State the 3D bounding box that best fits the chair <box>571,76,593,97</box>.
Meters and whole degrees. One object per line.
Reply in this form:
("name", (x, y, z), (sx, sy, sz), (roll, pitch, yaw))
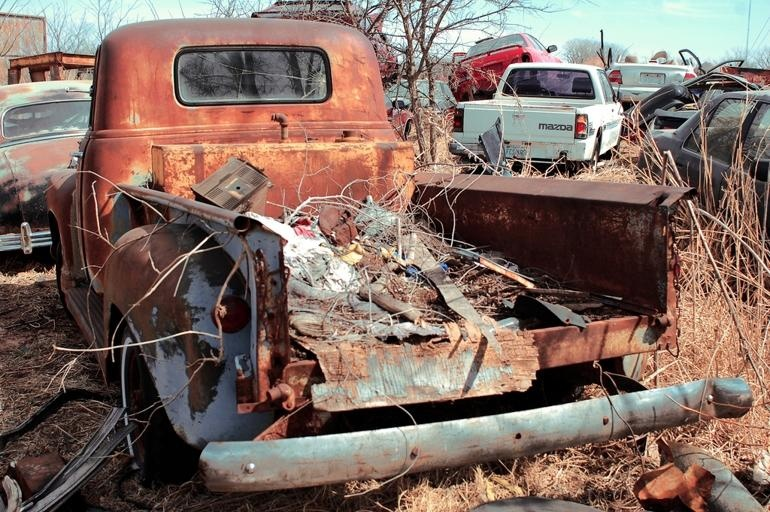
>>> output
("chair", (3.579, -3.045, 10.699), (0.376, 0.343, 0.241), (7, 9, 25))
